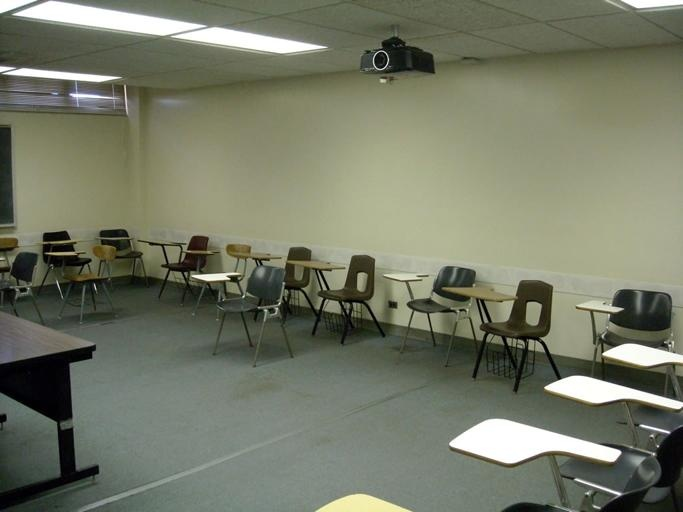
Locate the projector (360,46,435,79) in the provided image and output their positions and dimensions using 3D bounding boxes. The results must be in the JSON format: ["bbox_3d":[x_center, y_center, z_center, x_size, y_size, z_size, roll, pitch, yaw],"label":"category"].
[{"bbox_3d":[0.524,-1.832,4.844,0.685,0.241,0.279,0,10,3],"label":"projector"}]
